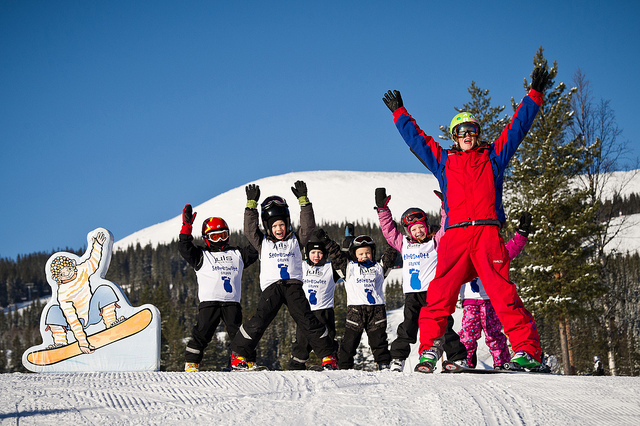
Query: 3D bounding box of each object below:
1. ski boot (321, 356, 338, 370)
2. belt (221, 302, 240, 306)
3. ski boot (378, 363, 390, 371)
[{"bbox_3d":[0.287,4.119,22.620,0.286,0.367,0.392,-1,-51,-1],"label":"ski boot"},{"bbox_3d":[-2.505,2.513,22.896,0.487,0.110,0.062,-2,-7,-10],"label":"belt"},{"bbox_3d":[1.826,4.328,23.300,0.416,0.155,0.348,-6,-8,19],"label":"ski boot"}]
